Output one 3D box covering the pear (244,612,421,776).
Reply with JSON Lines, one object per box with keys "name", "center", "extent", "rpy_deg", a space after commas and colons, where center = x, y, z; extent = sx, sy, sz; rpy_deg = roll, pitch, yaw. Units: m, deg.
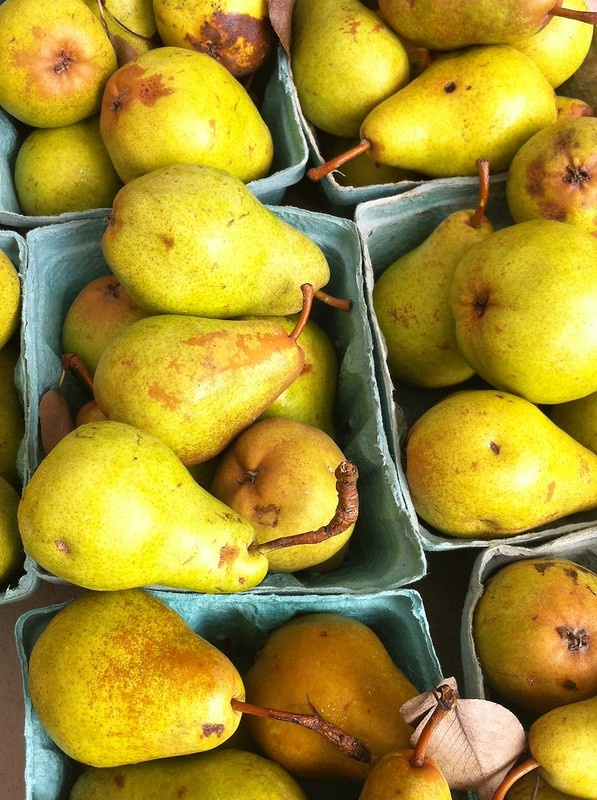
{"name": "pear", "center": [0.020, 0.327, 0.988], "extent": [0.162, 0.202, 0.142], "rpy_deg": [-14, 90, -15]}
